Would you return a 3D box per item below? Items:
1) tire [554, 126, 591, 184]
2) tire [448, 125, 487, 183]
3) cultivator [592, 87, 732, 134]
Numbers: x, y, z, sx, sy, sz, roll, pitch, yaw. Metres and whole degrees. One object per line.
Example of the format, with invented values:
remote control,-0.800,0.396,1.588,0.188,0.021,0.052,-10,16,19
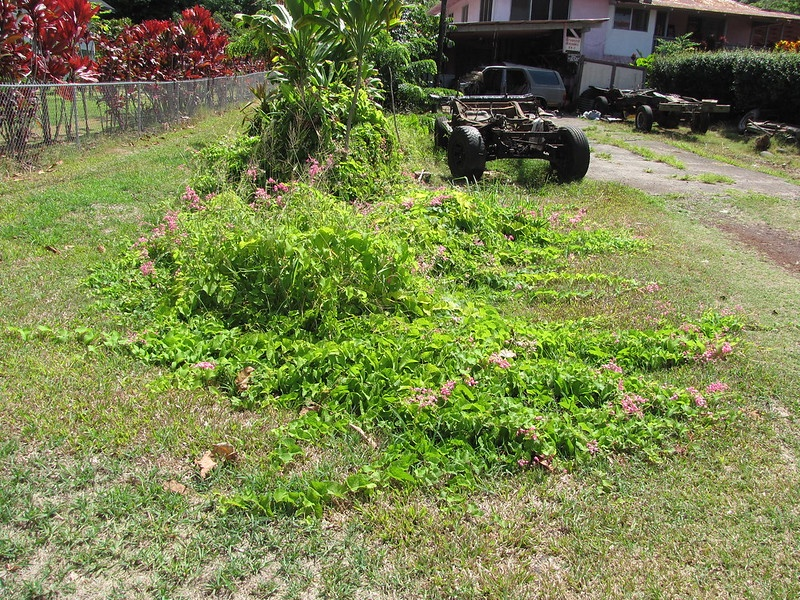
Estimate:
tire,2.798,-2.353,10.412,0.302,0.991,0.925,-1,15,-10
tire,1.107,-2.387,10.366,0.360,0.841,0.966,-2,20,-15
cultivator,7.776,-6.054,20.054,1.936,1.116,5.868,1,21,-8
